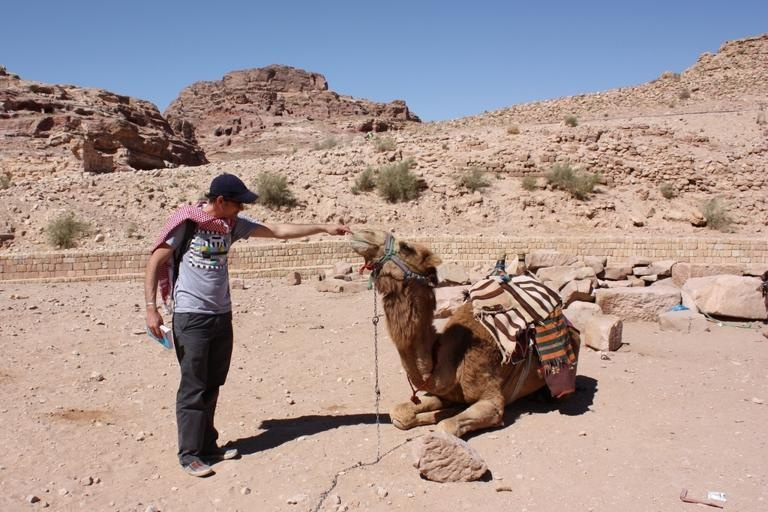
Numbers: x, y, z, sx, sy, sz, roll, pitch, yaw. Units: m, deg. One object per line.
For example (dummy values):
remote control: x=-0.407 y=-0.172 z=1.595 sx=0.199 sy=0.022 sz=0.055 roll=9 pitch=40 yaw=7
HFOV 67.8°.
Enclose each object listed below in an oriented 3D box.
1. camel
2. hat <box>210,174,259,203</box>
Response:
camel: x=1.008 y=0.961 z=6.589 sx=1.575 sy=2.121 sz=3.756 roll=-2 pitch=-5 yaw=39
hat: x=-1.466 y=-0.657 z=5.624 sx=0.450 sy=0.215 sz=0.273 roll=-3 pitch=19 yaw=-7
